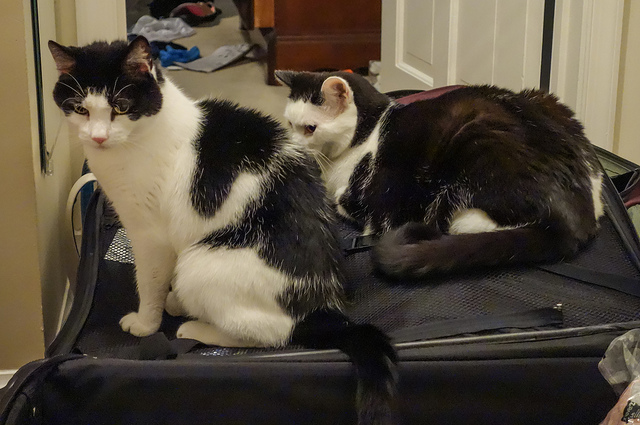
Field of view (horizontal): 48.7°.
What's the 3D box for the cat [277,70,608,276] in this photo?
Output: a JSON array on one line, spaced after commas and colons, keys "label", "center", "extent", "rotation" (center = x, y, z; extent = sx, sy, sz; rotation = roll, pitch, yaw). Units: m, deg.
[{"label": "cat", "center": [0.340, -0.061, 2.055], "extent": [0.729, 0.344, 0.556], "rotation": [4, 48, 33]}]
